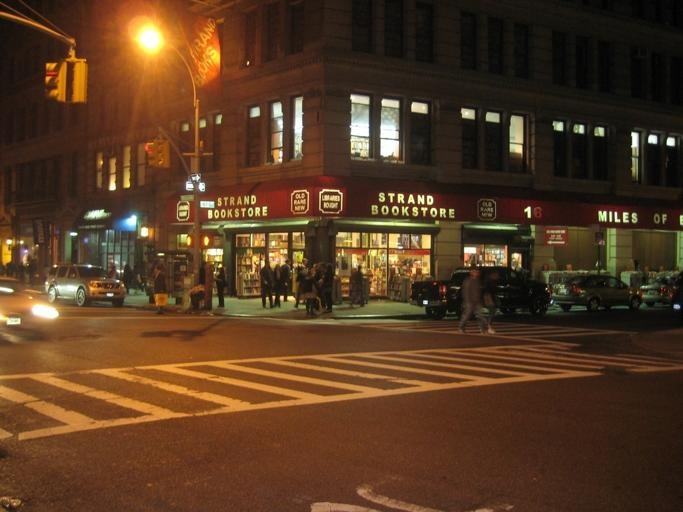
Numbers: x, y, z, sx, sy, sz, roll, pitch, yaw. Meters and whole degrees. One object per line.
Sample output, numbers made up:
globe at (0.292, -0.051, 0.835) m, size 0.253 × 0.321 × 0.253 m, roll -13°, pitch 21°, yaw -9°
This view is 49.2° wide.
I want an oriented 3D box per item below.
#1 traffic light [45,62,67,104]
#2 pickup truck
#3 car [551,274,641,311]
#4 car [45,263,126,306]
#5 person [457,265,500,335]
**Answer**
traffic light at (-7.060, -4.301, 18.451) m, size 0.462 × 1.011 × 0.944 m, roll -2°, pitch 5°, yaw -24°
pickup truck at (5.861, 1.528, 30.135) m, size 5.269 × 2.096 × 2.334 m, roll -2°, pitch 1°, yaw -30°
car at (11.869, 1.737, 34.811) m, size 2.850 × 2.122 × 3.094 m, roll -1°, pitch 1°, yaw 26°
car at (-12.274, 1.396, 35.429) m, size 4.297 × 2.119 × 2.214 m, roll 0°, pitch -2°, yaw 40°
person at (4.484, 1.456, 24.695) m, size 0.969 × 2.561 × 1.105 m, roll 0°, pitch 0°, yaw -32°
